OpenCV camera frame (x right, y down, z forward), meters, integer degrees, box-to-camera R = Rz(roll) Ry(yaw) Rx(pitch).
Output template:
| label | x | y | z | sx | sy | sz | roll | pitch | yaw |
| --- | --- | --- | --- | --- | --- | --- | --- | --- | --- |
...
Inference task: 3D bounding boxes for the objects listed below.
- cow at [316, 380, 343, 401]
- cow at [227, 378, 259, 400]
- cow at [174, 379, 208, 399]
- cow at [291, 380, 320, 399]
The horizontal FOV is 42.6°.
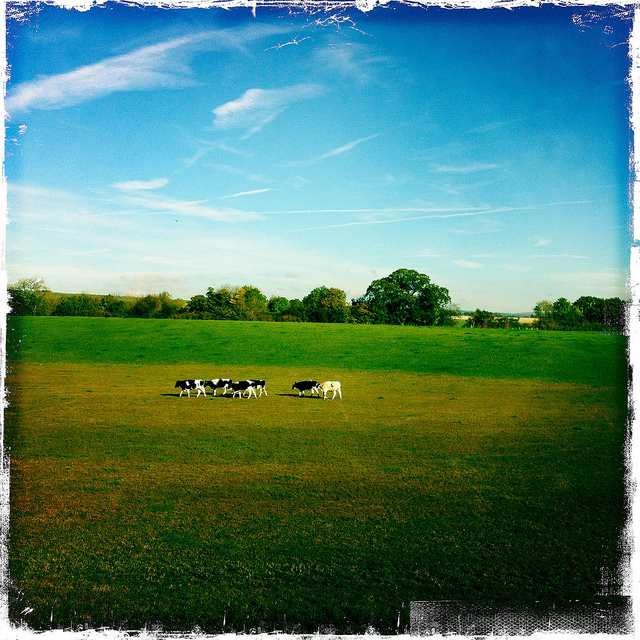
| label | x | y | z | sx | sy | sz | roll | pitch | yaw |
| --- | --- | --- | --- | --- | --- | --- | --- | --- | --- |
| cow | 0.433 | 3.051 | 35.825 | 1.088 | 0.946 | 2.676 | 2 | 9 | 0 |
| cow | -3.523 | 2.913 | 35.206 | 1.792 | 0.914 | 0.604 | 9 | 4 | 32 |
| cow | -5.502 | 2.928 | 35.199 | 1.349 | 0.754 | 2.490 | 0 | 9 | -9 |
| cow | -0.581 | 2.983 | 36.297 | 1.139 | 0.844 | 1.480 | 2 | 9 | 1 |
